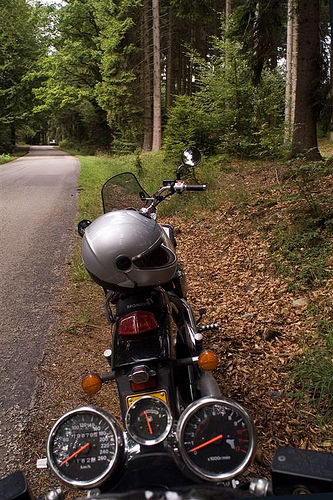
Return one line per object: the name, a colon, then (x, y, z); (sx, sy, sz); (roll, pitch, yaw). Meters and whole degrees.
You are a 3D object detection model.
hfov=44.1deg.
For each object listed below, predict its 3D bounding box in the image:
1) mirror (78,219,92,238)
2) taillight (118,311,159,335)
mirror: (-0.533, -0.149, 2.675); (0.089, 0.048, 0.149); (17, 54, -16)
taillight: (-0.142, 0.360, 2.021); (0.186, 0.095, 0.105); (-5, 15, -14)
